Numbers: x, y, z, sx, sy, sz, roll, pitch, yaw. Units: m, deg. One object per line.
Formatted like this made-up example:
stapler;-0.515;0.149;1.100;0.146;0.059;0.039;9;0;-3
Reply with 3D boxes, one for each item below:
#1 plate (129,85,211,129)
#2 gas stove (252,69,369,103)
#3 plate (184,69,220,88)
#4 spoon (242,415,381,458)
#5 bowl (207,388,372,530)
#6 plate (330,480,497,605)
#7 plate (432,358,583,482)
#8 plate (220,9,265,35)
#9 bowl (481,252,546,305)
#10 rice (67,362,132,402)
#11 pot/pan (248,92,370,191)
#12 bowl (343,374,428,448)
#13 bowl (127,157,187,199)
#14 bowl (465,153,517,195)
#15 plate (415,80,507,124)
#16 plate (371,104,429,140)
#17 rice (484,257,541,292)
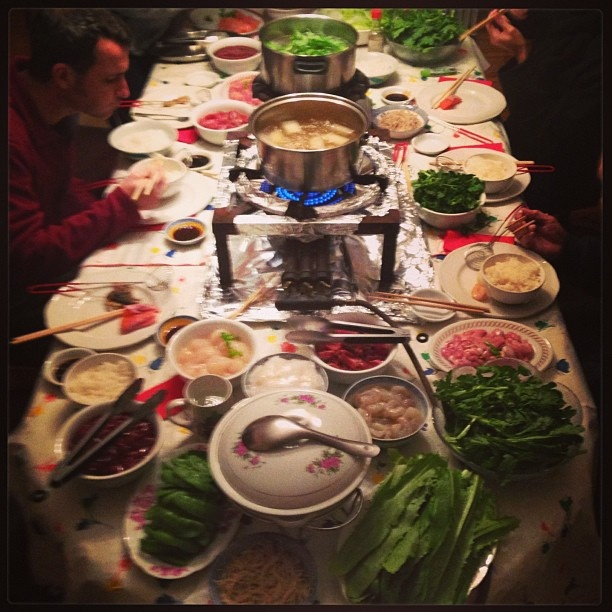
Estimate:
plate;-0.640;-0.983;2.778;0.351;0.047;0.281;20;52;8
gas stove;0.031;-0.927;2.435;0.371;0.056;0.287;-2;41;0
plate;-0.537;-1.183;2.974;0.189;0.025;0.094;-1;59;-3
spoon;0.030;0.367;1.529;0.445;0.073;0.112;3;37;8
bowl;-0.042;0.398;1.543;0.429;0.168;0.352;2;38;3
plate;0.276;0.633;1.538;0.339;0.299;0.312;7;41;10
plate;0.570;0.328;1.636;0.362;0.258;0.311;-12;41;-12
plate;-0.336;-1.489;3.004;0.215;0.043;0.185;30;59;8
bowl;0.713;-0.123;1.978;0.246;0.090;0.190;-5;53;-2
rice;-0.651;0.242;1.779;0.139;0.052;0.133;8;44;-3
pot/pan;0.010;-0.562;2.048;0.372;0.171;0.385;22;44;23
bowl;0.240;0.311;1.711;0.221;0.078;0.229;-8;60;15
bowl;-0.596;-0.566;2.314;0.254;0.112;0.188;1;56;-8
bowl;0.781;-0.574;2.384;0.253;0.085;0.188;-3;55;0
plate;0.772;-1.015;2.829;0.360;0.040;0.316;-25;52;-21
plate;0.454;-0.884;2.702;0.321;0.086;0.251;-2;50;-2
rice;0.730;-0.087;2.023;0.176;0.056;0.157;-25;47;-23
